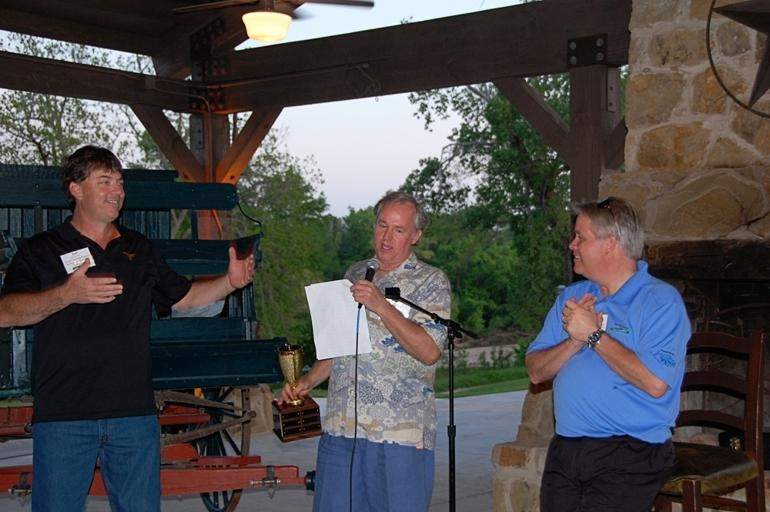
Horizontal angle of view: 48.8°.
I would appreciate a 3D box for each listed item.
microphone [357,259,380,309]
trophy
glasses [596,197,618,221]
[{"bbox_3d":[-0.098,0.184,5.353,0.080,0.342,0.088,33,-48,-15],"label":"microphone"},{"bbox_3d":[-0.624,0.939,5.818,0.301,0.778,0.317,4,15,5],"label":"trophy"},{"bbox_3d":[1.385,-0.295,5.263,0.091,0.046,0.131,18,38,32],"label":"glasses"}]
